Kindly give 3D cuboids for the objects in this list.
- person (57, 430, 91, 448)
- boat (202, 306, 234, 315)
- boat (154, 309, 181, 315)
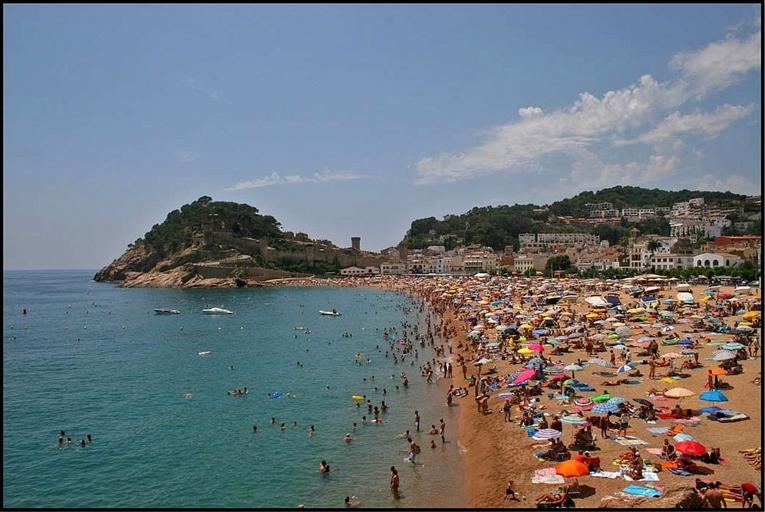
[{"bbox_3d":[-19.935,11.965,35.887,1.289,0.407,1.200,7,13,8],"label":"person"},{"bbox_3d":[-24.687,8.425,83.630,3.549,0.817,2.023,1,-4,12],"label":"boat"},{"bbox_3d":[-33.073,8.669,85.857,3.747,0.894,5.566,1,-6,-24],"label":"boat"}]
